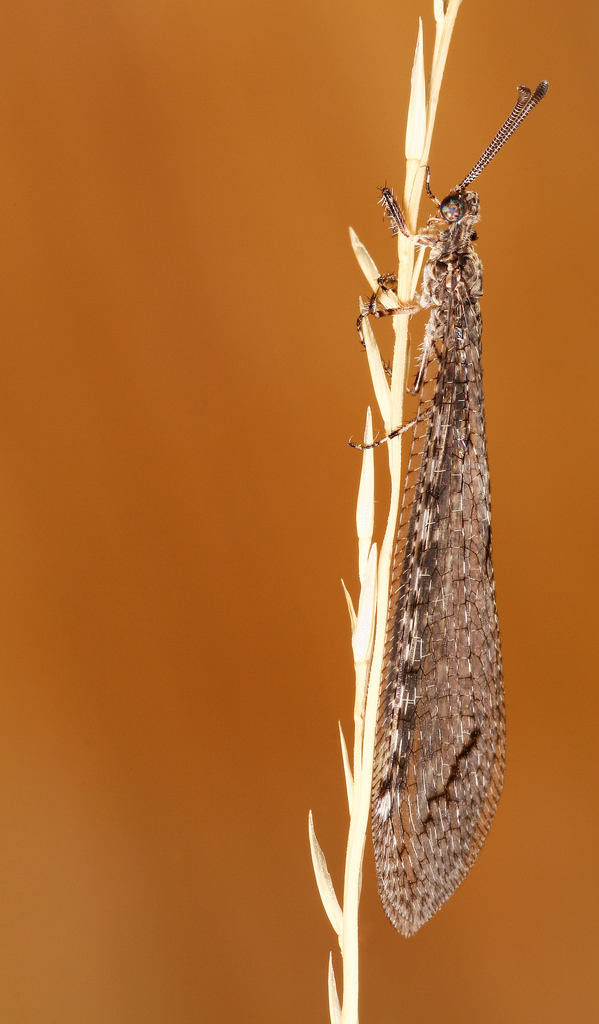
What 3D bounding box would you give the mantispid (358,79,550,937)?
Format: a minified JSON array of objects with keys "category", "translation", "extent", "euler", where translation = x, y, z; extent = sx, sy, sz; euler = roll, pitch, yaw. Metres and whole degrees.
[{"category":"mantispid","translation":[0.132,0.052,1.115],"extent":[0.161,0.084,0.818],"euler":[2,-94,-12]}]
